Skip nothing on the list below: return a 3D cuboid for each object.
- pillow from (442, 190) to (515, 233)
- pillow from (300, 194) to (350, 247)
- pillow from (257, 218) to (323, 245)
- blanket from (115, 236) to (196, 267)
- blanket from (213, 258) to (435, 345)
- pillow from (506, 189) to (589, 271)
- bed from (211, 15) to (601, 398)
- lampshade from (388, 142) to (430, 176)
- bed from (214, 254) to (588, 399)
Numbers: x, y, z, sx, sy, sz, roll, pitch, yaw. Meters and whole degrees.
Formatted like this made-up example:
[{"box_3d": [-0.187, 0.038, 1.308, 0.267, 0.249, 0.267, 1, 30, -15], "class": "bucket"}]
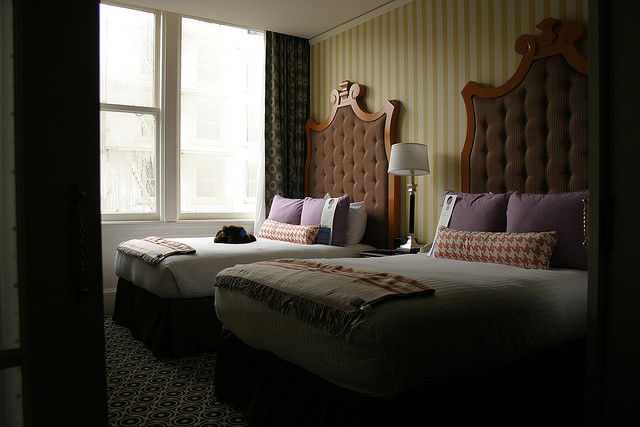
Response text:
[{"box_3d": [1.194, 0.049, 3.616, 0.200, 0.466, 0.637, 11, -6, -34], "class": "pillow"}, {"box_3d": [-0.015, 0.090, 4.806, 0.663, 0.556, 0.241, 2, 0, 39], "class": "pillow"}, {"box_3d": [-0.328, 0.169, 4.701, 0.756, 0.203, 0.138, 10, 4, -45], "class": "pillow"}, {"box_3d": [-1.416, 0.320, 4.024, 0.350, 0.177, 1.068, -3, 8, -37], "class": "blanket"}, {"box_3d": [-0.041, 0.399, 2.395, 0.451, 0.151, 0.755, -6, 6, -43], "class": "blanket"}, {"box_3d": [1.525, 0.111, 3.202, 0.498, 0.511, 0.242, 3, -15, 46], "class": "pillow"}, {"box_3d": [0.771, -0.253, 3.136, 2.184, 2.154, 1.971, 0, 4, -17], "class": "bed"}, {"box_3d": [0.843, -0.517, 4.359, 0.380, 0.281, 0.410, 0, -1, 23], "class": "lampshade"}, {"box_3d": [0.301, 0.550, 2.358, 0.964, 0.266, 0.974, -1, 2, -39], "class": "bed"}]
